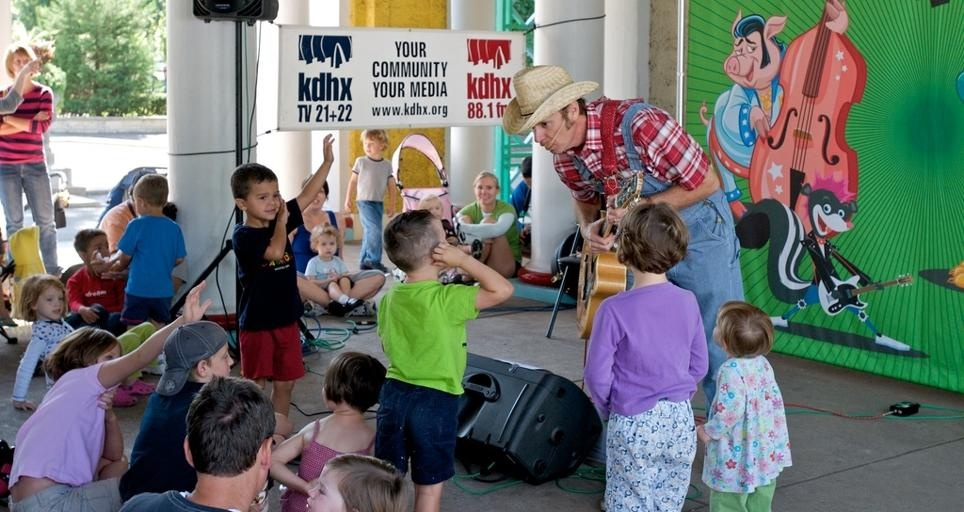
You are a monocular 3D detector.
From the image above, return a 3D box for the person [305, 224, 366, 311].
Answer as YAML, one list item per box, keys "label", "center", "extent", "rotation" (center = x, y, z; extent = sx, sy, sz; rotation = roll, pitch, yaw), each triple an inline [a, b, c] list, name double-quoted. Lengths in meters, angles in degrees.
- label: "person"
  center: [-1.629, 0.133, 9.223]
  extent: [0.530, 0.923, 0.945]
  rotation: [-8, 15, -38]

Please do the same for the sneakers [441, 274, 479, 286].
- label: "sneakers"
  center: [-0.244, 0.250, 8.639]
  extent: [0.245, 0.087, 0.247]
  rotation: [1, 2, 29]

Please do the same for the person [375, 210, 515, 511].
- label: "person"
  center: [-0.325, 0.786, 5.678]
  extent: [0.800, 2.142, 0.474]
  rotation: [0, 11, -7]

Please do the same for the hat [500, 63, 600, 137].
- label: "hat"
  center: [0.472, -1.115, 5.981]
  extent: [0.647, 0.507, 0.340]
  rotation: [3, 11, 7]

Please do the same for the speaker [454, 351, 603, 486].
- label: "speaker"
  center: [0.278, 1.229, 6.636]
  extent: [1.061, 0.805, 1.095]
  rotation: [6, 3, -42]

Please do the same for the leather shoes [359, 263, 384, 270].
- label: "leather shoes"
  center: [-1.532, 0.145, 11.546]
  extent: [0.323, 0.132, 0.117]
  rotation: [0, -1, -9]

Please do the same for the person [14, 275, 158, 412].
- label: "person"
  center: [-3.586, 0.736, 7.228]
  extent: [1.016, 1.154, 0.980]
  rotation: [-4, 2, 10]

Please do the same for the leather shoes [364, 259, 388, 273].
- label: "leather shoes"
  center: [-1.488, 0.148, 11.539]
  extent: [0.327, 0.135, 0.155]
  rotation: [0, 1, -11]
